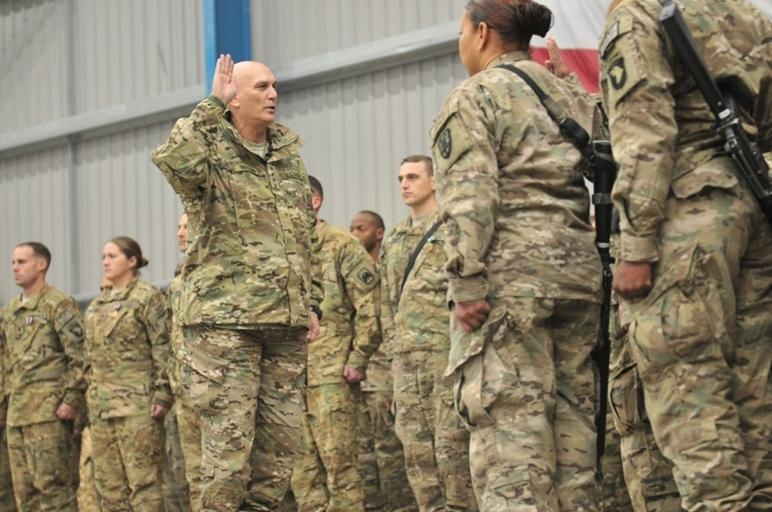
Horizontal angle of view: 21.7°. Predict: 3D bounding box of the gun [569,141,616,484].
[{"bbox_3d":[1.841,0.336,17.330,0.239,3.176,0.650,0,3,4],"label":"gun"}]
